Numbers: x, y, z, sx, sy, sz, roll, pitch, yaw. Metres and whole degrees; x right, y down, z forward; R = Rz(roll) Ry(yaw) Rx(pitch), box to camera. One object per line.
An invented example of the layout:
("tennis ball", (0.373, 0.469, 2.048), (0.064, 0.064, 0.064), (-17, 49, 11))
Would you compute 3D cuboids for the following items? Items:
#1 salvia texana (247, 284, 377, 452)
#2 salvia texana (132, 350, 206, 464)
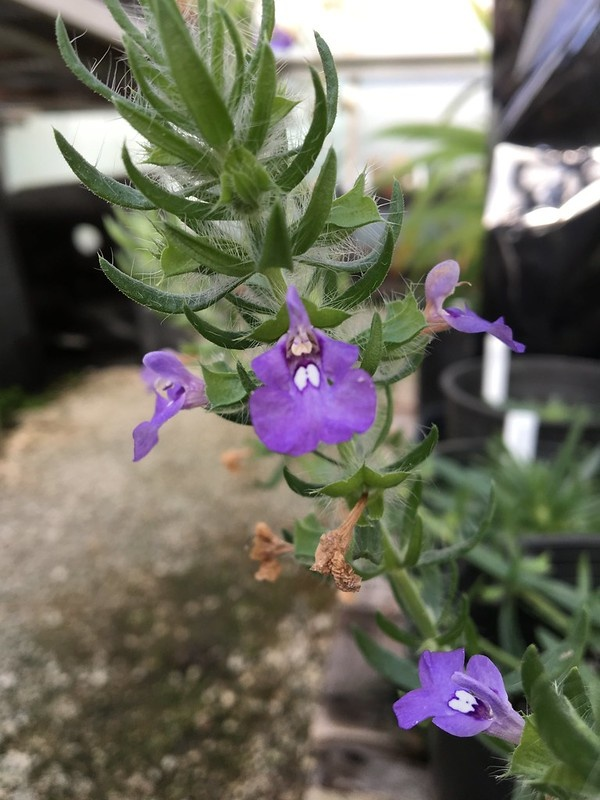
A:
("salvia texana", (0.001, -0.015, 0.360), (0.069, 0.082, 0.027), (-6, 42, 8))
("salvia texana", (-0.081, 0.003, 0.473), (0.078, 0.024, 0.048), (-14, 48, 18))
